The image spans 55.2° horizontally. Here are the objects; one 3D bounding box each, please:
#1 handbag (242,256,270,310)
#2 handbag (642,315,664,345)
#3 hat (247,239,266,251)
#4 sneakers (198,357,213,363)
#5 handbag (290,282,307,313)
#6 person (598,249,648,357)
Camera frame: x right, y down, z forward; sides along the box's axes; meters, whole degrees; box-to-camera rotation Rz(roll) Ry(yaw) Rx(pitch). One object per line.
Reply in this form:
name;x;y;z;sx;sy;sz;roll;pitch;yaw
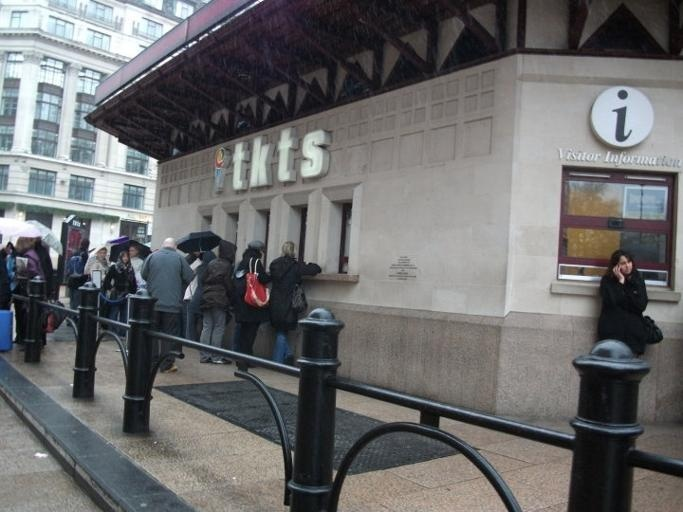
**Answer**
handbag;-1.559;0.515;11.701;0.515;1.188;0.953;-4;-7;-7
handbag;4.168;1.015;8.755;0.164;0.334;0.316;-15;-18;31
hat;-1.616;-0.180;12.188;0.278;0.159;0.227;-2;-1;20
sneakers;-2.470;1.910;11.931;0.172;0.128;0.109;-9;-9;29
handbag;-0.768;0.758;11.520;0.222;0.513;0.488;-2;-10;16
person;3.782;0.635;8.769;0.611;1.303;0.537;2;1;14
